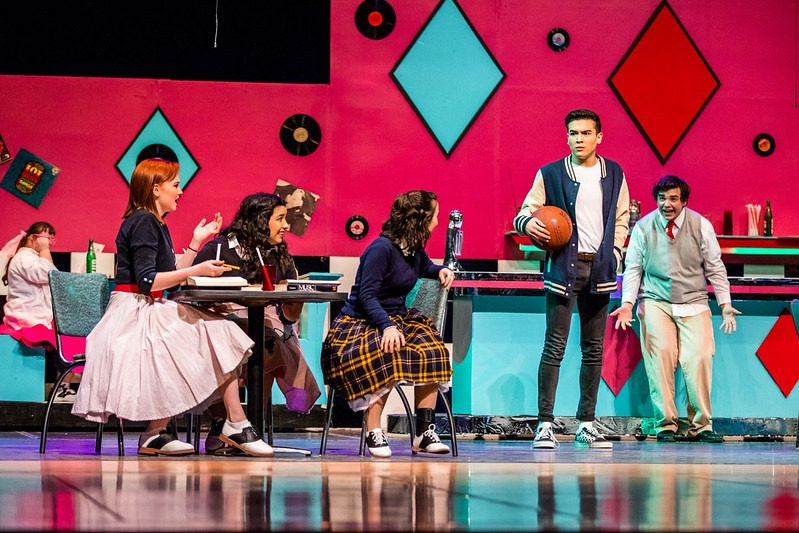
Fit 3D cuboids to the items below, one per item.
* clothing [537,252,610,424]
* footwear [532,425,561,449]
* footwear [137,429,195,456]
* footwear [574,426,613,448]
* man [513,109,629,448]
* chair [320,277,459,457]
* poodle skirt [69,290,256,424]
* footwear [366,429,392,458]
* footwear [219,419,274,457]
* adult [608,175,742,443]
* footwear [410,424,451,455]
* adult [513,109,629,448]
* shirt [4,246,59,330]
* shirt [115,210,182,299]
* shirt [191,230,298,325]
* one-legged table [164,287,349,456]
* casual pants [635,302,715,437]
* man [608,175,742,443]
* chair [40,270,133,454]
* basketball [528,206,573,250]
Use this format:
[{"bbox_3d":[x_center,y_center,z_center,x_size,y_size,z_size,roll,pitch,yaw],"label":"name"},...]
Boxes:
[{"bbox_3d":[1.180,0.438,5.918,0.443,1.415,0.316,0,24,3],"label":"clothing"},{"bbox_3d":[0.942,1.088,5.722,0.160,0.178,0.205,-1,-14,9],"label":"footwear"},{"bbox_3d":[-1.342,1.011,5.093,0.262,0.128,0.145,-1,-6,3],"label":"footwear"},{"bbox_3d":[1.270,1.125,5.863,0.106,0.137,0.296,4,-9,-29],"label":"footwear"},{"bbox_3d":[1.159,0.092,5.837,0.712,2.155,0.597,-2,-14,14],"label":"man"},{"bbox_3d":[-0.048,0.457,5.316,0.634,1.230,0.869,6,-3,-19],"label":"chair"},{"bbox_3d":[-1.332,0.487,5.014,0.886,0.731,0.620,-6,2,-15],"label":"poodle skirt"},{"bbox_3d":[-0.119,1.007,5.097,0.145,0.166,0.124,2,-14,-5],"label":"footwear"},{"bbox_3d":[-0.850,0.954,5.120,0.312,0.165,0.156,24,-1,12],"label":"footwear"},{"bbox_3d":[2.014,0.294,6.461,0.757,1.923,0.643,-1,2,17],"label":"adult"},{"bbox_3d":[0.173,1.017,5.236,0.101,0.154,0.287,6,-12,-37],"label":"footwear"},{"bbox_3d":[1.159,0.092,5.837,0.712,2.155,0.597,-2,-14,14],"label":"adult"},{"bbox_3d":[-2.968,0.183,7.143,0.478,0.877,0.603,-1,-3,-16],"label":"shirt"},{"bbox_3d":[-1.457,-0.117,5.241,0.361,0.570,0.635,-2,5,-13],"label":"shirt"},{"bbox_3d":[-0.915,0.061,5.156,0.410,0.457,0.239,21,-4,-35],"label":"shirt"},{"bbox_3d":[-0.801,0.476,5.185,0.904,0.977,0.955,0,3,-1],"label":"one-legged table"},{"bbox_3d":[2.009,0.719,6.412,0.510,0.954,0.334,-3,-14,14],"label":"casual pants"},{"bbox_3d":[2.012,0.297,6.473,0.805,1.934,0.587,-1,-2,20],"label":"man"},{"bbox_3d":[-1.852,0.543,5.507,0.565,1.042,0.555,0,1,30],"label":"chair"},{"bbox_3d":[0.959,-0.248,5.730,0.244,0.313,0.256,-3,-8,3],"label":"basketball"}]
